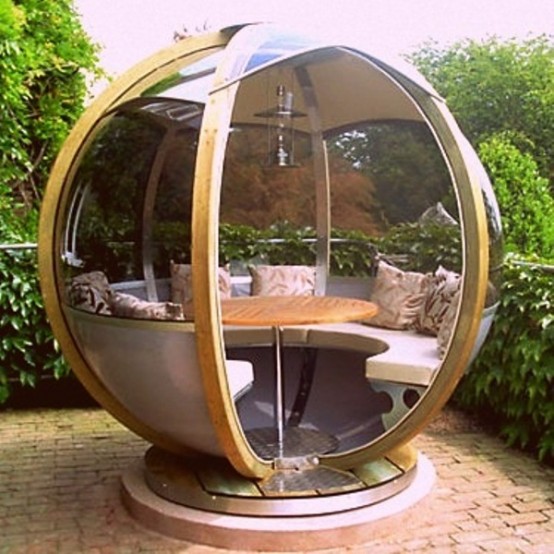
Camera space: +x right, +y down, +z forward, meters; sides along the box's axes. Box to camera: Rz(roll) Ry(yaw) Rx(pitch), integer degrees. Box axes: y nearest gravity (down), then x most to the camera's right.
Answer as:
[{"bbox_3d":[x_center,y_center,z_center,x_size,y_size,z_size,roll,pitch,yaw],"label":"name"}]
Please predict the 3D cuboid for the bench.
[{"bbox_3d":[0.103,0.310,3.405,2.643,0.686,1.971,0,1,-9],"label":"bench"}]

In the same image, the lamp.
[{"bbox_3d":[0.031,-1.249,4.236,0.407,0.618,0.389,-2,11,-9],"label":"lamp"}]
